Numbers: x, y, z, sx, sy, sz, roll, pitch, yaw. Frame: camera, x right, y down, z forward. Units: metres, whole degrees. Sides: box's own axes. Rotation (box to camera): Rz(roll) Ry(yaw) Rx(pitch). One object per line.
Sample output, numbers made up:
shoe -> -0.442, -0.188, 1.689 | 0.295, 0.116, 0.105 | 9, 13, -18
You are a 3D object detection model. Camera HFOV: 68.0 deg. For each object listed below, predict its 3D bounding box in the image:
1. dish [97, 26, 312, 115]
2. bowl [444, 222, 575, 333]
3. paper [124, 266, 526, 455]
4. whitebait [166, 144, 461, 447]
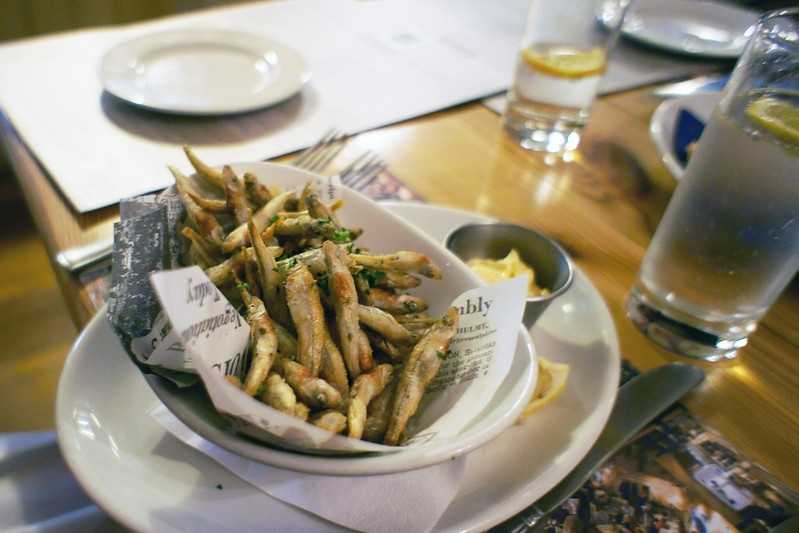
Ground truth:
dish -> -0.333, -0.311, 1.024 | 0.247, 0.026, 0.234 | -9, 44, -20
bowl -> 0.121, -0.011, 0.755 | 0.124, 0.054, 0.120 | -6, 19, 2
paper -> -0.050, 0.092, 0.592 | 0.258, 0.105, 0.223 | 11, 36, 2
whitebait -> -0.132, 0.064, 0.701 | 0.344, 0.147, 0.259 | 37, 51, 25
